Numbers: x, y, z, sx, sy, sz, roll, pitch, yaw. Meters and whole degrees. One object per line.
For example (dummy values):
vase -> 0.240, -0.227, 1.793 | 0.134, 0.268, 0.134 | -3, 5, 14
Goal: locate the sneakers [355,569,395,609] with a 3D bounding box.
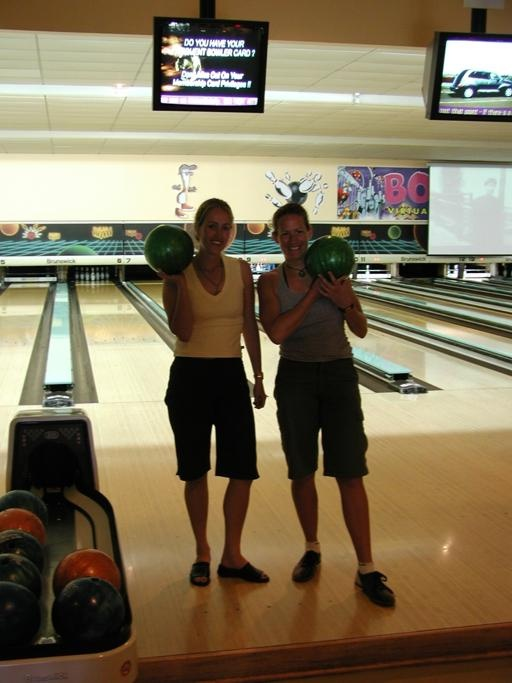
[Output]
sneakers -> 0.334, 0.684, 1.335 | 0.096, 0.076, 0.136 | 0, 14, 0

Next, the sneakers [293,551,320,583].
sneakers -> 0.154, 0.685, 1.463 | 0.042, 0.043, 0.112 | 3, 7, 27

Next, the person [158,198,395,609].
person -> 0.066, 0.171, 1.441 | 0.722, 1.149, 0.426 | 3, 14, 13

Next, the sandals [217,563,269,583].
sandals -> -0.035, 0.690, 1.471 | 0.162, 0.063, 0.055 | 0, 1, 6
